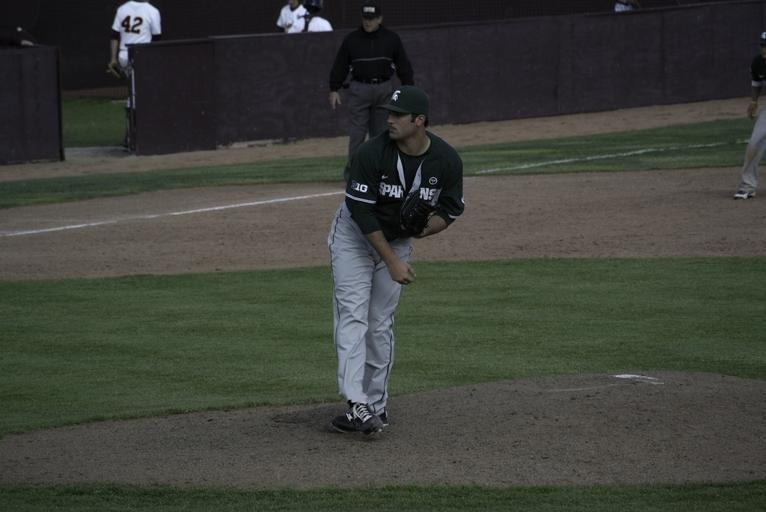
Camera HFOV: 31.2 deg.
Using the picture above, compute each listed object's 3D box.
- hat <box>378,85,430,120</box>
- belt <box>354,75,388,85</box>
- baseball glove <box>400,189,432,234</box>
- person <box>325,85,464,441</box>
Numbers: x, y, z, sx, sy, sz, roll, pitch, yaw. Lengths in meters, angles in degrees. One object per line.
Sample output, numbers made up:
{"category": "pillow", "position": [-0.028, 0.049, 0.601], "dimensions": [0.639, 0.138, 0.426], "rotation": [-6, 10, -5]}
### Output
{"category": "hat", "position": [0.219, -1.618, 14.156], "dimensions": [0.573, 0.262, 0.416], "rotation": [0, 13, -35]}
{"category": "belt", "position": [-0.199, -2.689, 20.793], "dimensions": [0.548, 0.161, 0.195], "rotation": [-1, 13, -2]}
{"category": "baseball glove", "position": [0.318, -0.471, 14.082], "dimensions": [0.342, 0.453, 0.243], "rotation": [22, -6, -23]}
{"category": "person", "position": [0.060, 0.033, 14.187], "dimensions": [1.414, 3.492, 0.941], "rotation": [-5, 13, -15]}
